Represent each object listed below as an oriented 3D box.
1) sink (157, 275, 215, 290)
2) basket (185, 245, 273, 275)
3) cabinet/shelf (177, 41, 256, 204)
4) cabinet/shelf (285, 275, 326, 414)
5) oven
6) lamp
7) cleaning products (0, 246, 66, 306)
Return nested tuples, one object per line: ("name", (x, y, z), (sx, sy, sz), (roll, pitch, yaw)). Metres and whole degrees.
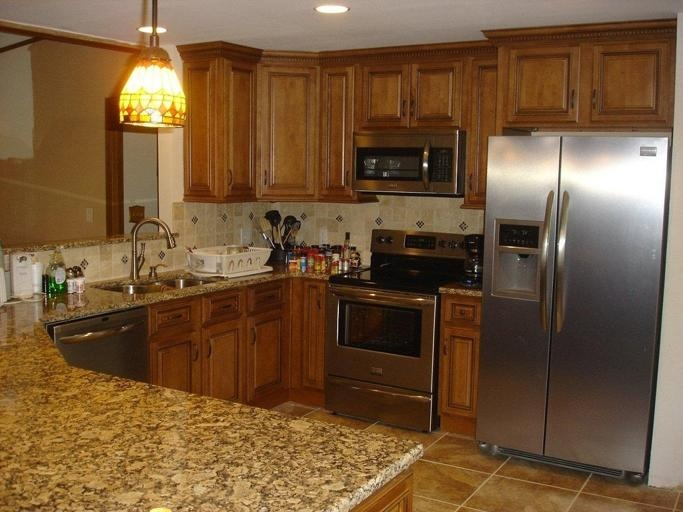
("sink", (-1.223, 0.195, 4.174), (0.171, 0.078, 0.224), (10, 11, 41))
("basket", (-0.933, 0.027, 4.425), (0.495, 0.175, 0.538), (9, 12, 38))
("cabinet/shelf", (-0.966, -1.033, 4.337), (0.622, 1.199, 0.304), (0, 10, -10))
("cabinet/shelf", (-0.287, 0.702, 4.513), (0.343, 1.061, 0.086), (7, 11, 28))
("oven", (0.456, 0.754, 4.437), (0.944, 1.047, 0.768), (3, 2, 35))
("lamp", (-0.773, -0.787, 2.226), (0.249, 0.503, 0.156), (-2, 10, -22))
("cleaning products", (-2.006, 0.104, 3.478), (0.162, 0.297, 0.241), (9, 12, 39))
